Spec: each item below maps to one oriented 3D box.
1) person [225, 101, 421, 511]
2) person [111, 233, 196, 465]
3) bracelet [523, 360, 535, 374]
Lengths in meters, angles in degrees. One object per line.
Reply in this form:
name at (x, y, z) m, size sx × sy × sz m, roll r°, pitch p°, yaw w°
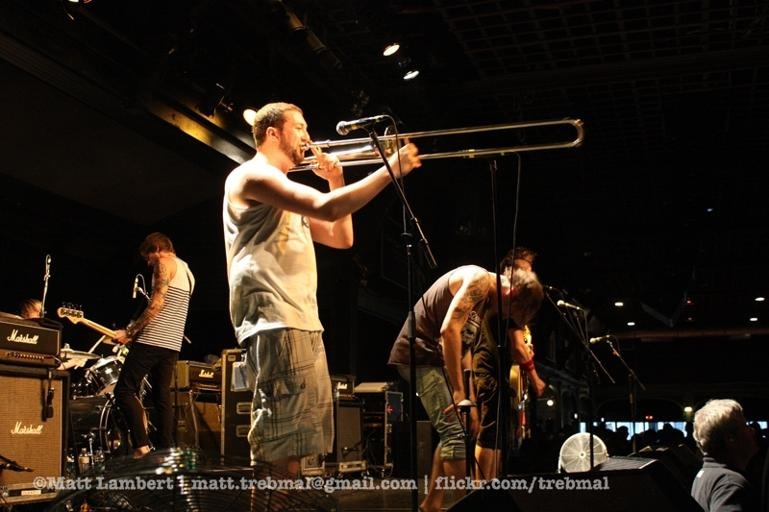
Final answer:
person at (-0.623, 0.123, 4.081) m, size 0.855 × 2.365 × 0.619 m, roll 6°, pitch -20°, yaw -16°
person at (-2.356, 0.851, 6.510) m, size 0.699 × 2.206 × 0.498 m, roll 11°, pitch -22°, yaw -28°
bracelet at (1.409, 1.072, 6.202) m, size 0.121 × 0.138 × 0.179 m, roll 1°, pitch -14°, yaw -3°
